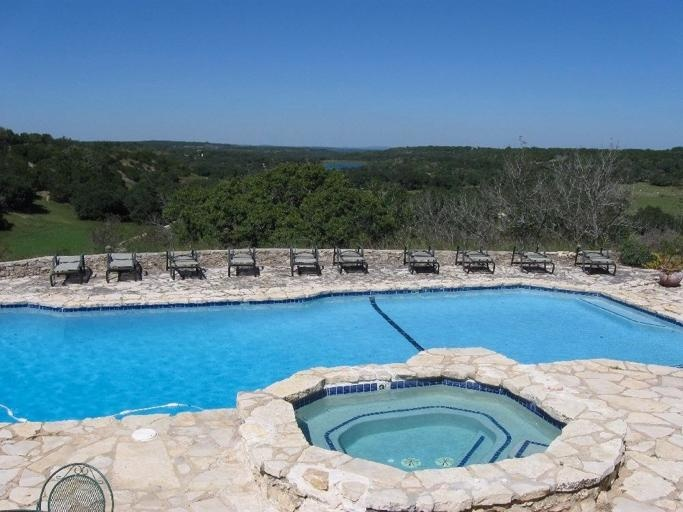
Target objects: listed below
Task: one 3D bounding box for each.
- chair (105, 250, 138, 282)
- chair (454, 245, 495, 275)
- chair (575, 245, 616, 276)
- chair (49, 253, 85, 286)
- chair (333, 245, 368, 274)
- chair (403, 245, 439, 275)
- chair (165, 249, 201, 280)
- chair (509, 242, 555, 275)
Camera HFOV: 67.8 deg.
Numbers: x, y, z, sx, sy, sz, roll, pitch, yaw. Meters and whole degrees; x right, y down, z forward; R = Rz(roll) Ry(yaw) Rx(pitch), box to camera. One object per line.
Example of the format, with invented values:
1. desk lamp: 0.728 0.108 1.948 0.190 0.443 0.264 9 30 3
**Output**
1. chair: -5.773 0.244 13.357 0.710 0.537 1.061 0 0 -16
2. chair: 3.942 0.142 15.251 0.777 0.409 1.110 -1 5 -1
3. chair: 7.524 0.173 15.194 0.803 0.592 1.478 -2 4 9
4. chair: -6.899 0.334 12.919 0.885 0.765 0.909 -1 7 -25
5. chair: 0.191 0.114 14.877 0.647 0.398 1.022 -1 9 -6
6. chair: 2.333 0.172 15.025 0.638 0.440 1.103 -1 8 0
7. chair: -4.412 0.228 14.081 0.707 0.480 1.188 -2 14 -18
8. chair: 5.795 0.102 15.448 0.802 0.538 1.320 1 11 6
